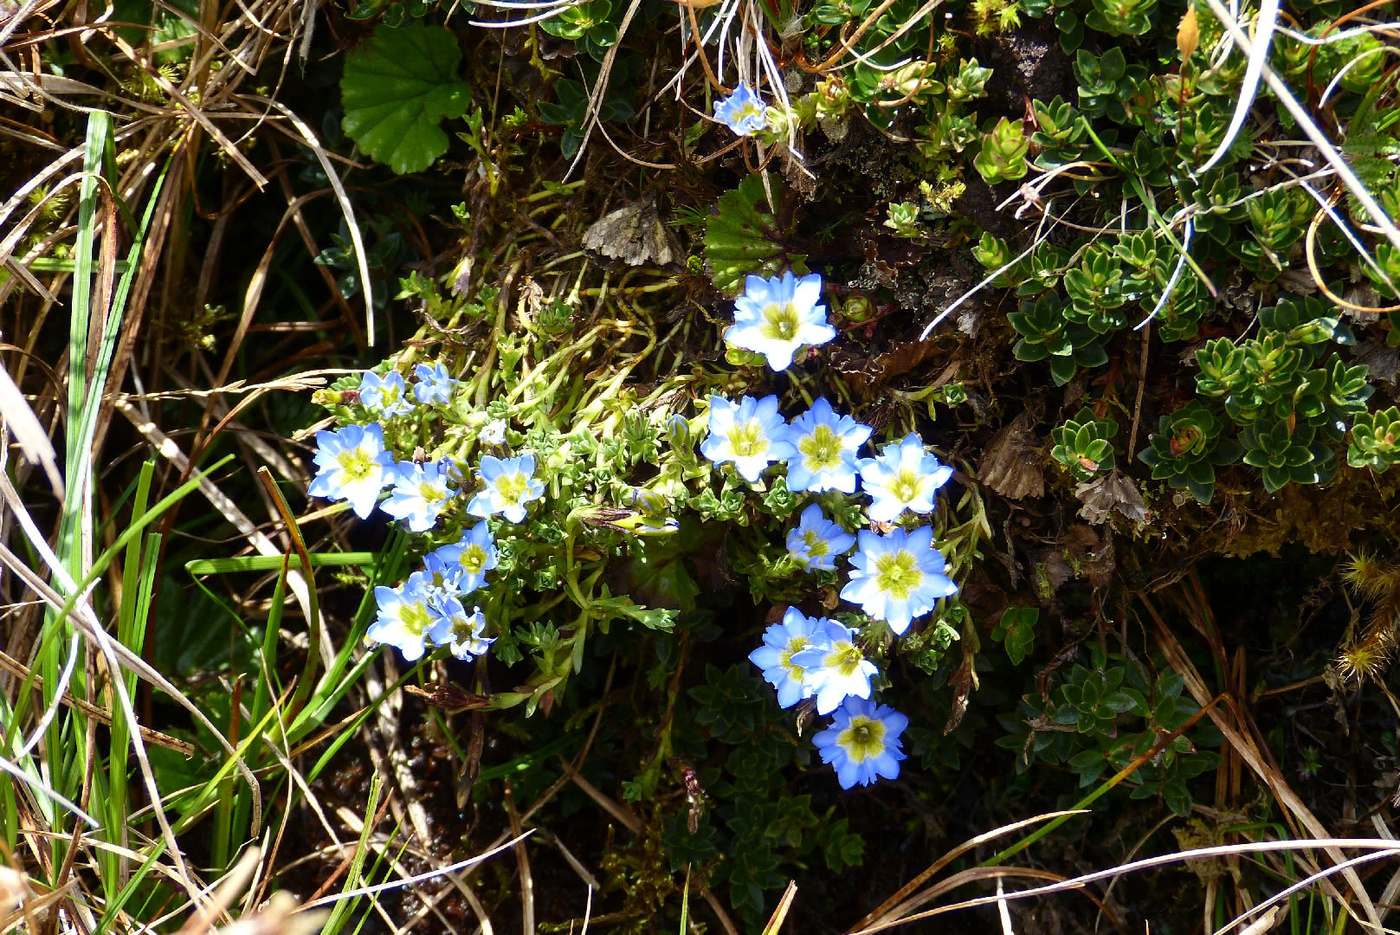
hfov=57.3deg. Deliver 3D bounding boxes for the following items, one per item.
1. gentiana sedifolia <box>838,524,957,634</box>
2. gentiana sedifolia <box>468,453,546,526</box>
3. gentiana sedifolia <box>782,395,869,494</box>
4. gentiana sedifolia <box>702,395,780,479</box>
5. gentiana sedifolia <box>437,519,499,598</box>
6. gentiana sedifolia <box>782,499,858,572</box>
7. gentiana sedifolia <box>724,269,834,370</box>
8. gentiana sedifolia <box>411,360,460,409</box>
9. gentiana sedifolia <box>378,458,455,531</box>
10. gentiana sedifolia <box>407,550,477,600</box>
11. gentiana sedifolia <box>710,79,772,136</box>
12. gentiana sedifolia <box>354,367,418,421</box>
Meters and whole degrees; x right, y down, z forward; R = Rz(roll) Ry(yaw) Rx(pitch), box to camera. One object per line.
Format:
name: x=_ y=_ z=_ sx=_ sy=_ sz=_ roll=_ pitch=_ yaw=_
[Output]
gentiana sedifolia: x=0.389 y=0.218 z=2.539 sx=0.213 sy=0.145 sz=0.207 roll=29 pitch=73 yaw=7
gentiana sedifolia: x=-0.394 y=0.043 z=2.587 sx=0.139 sy=0.115 sz=0.131 roll=9 pitch=71 yaw=1
gentiana sedifolia: x=0.249 y=-0.017 z=2.598 sx=0.168 sy=0.193 sz=0.181 roll=10 pitch=71 yaw=2
gentiana sedifolia: x=0.085 y=-0.063 z=2.534 sx=0.139 sy=0.072 sz=0.169 roll=-9 pitch=80 yaw=11
gentiana sedifolia: x=-0.475 y=0.181 z=2.570 sx=0.121 sy=0.053 sz=0.144 roll=1 pitch=86 yaw=19
gentiana sedifolia: x=0.237 y=0.138 z=2.595 sx=0.126 sy=0.079 sz=0.122 roll=32 pitch=86 yaw=-2
gentiana sedifolia: x=0.157 y=-0.303 z=2.559 sx=0.177 sy=0.078 sz=0.217 roll=-6 pitch=74 yaw=15
gentiana sedifolia: x=-0.563 y=-0.172 z=2.670 sx=0.078 sy=0.042 sz=0.094 roll=-7 pitch=102 yaw=15
gentiana sedifolia: x=-0.558 y=0.044 z=2.584 sx=0.140 sy=0.086 sz=0.168 roll=7 pitch=32 yaw=24
gentiana sedifolia: x=-0.518 y=0.220 z=2.588 sx=0.127 sy=0.044 sz=0.078 roll=9 pitch=72 yaw=1
gentiana sedifolia: x=0.079 y=-0.732 z=2.636 sx=0.109 sy=0.096 sz=0.121 roll=-15 pitch=73 yaw=-6
gentiana sedifolia: x=-0.663 y=-0.146 z=2.681 sx=0.107 sy=0.092 sz=0.094 roll=-8 pitch=72 yaw=-4
